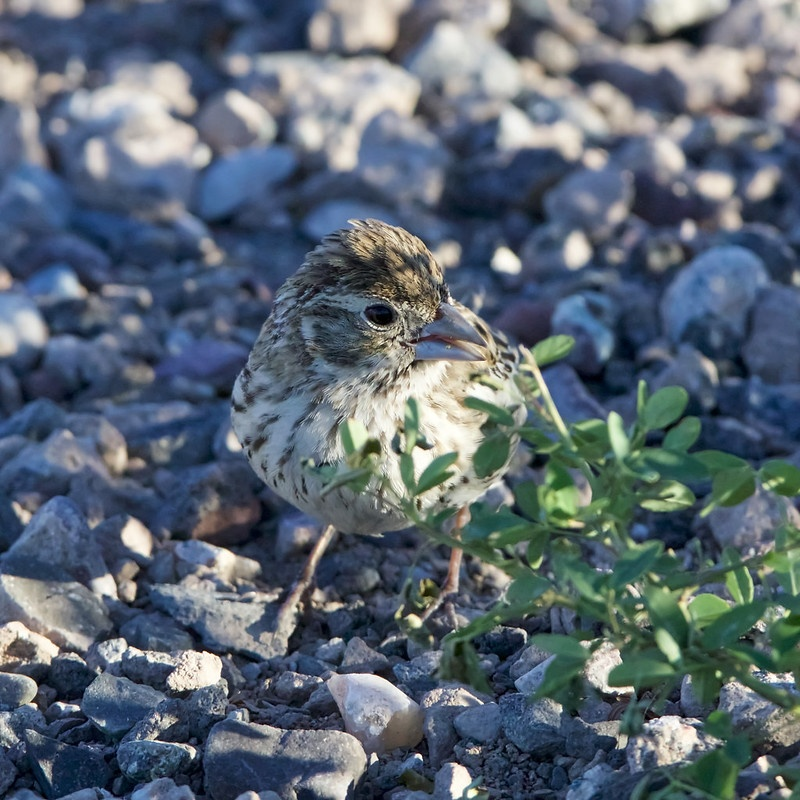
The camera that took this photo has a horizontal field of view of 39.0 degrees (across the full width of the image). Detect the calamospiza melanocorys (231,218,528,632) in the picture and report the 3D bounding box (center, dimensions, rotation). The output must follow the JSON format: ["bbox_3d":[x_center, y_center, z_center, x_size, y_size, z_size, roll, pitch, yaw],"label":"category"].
[{"bbox_3d":[-0.135,-0.129,5.103,1.231,1.238,1.917,-1,2,5],"label":"calamospiza melanocorys"}]
